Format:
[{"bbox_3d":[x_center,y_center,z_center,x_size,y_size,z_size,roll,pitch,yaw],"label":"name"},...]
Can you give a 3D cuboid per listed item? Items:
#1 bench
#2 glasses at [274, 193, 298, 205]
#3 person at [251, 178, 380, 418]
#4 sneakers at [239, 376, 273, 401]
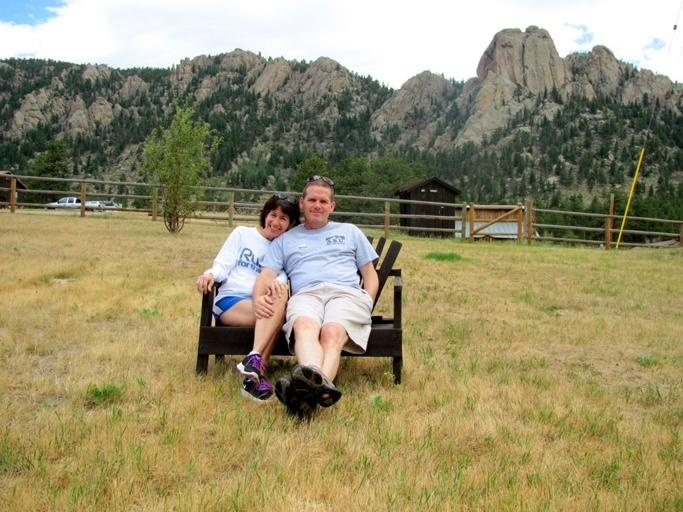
[{"bbox_3d":[-0.393,0.632,5.338,1.392,1.041,0.906,2,3,2],"label":"bench"},{"bbox_3d":[-0.499,-0.517,5.525,0.141,0.055,0.161,5,-36,-14],"label":"glasses"},{"bbox_3d":[-0.237,0.212,4.765,0.937,1.541,2.359,-4,10,4],"label":"person"},{"bbox_3d":[-0.634,0.974,4.580,0.247,0.129,0.119,2,3,36],"label":"sneakers"}]
